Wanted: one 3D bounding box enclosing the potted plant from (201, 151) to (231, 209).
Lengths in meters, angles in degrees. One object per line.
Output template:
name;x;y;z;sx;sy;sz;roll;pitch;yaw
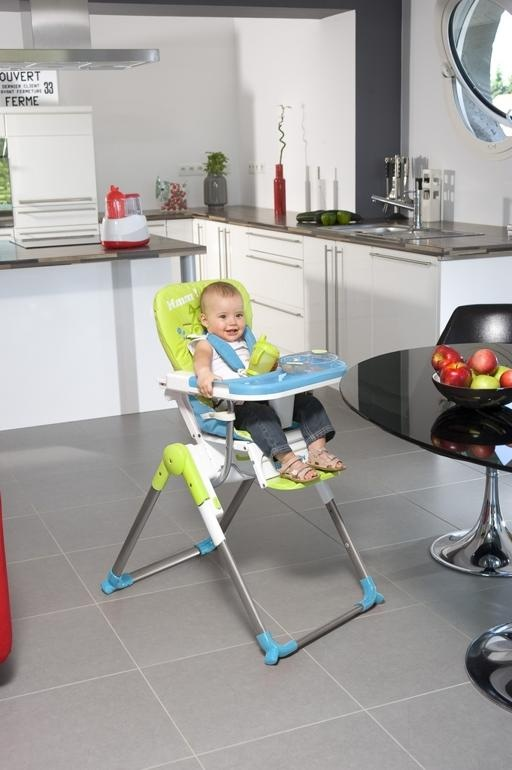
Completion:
potted plant;-0.391;-1.953;6.101;0.218;0.523;0.326;-3;8;-5

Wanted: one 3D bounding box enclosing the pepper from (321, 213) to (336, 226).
pepper;0.475;-1.105;4.236;0.086;0.085;0.086;-14;23;-38

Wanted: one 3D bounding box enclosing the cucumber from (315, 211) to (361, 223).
cucumber;0.551;-1.104;4.230;0.144;0.046;0.142;-6;9;-42

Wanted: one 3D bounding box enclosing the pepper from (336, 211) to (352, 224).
pepper;0.577;-1.101;4.210;0.082;0.081;0.083;2;21;-2

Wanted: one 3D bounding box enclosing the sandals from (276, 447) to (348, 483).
sandals;0.132;0.194;1.585;0.147;0.071;0.118;-6;9;-27

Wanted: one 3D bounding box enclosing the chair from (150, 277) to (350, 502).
chair;-0.019;-0.030;1.728;0.371;0.461;0.567;-17;19;-37

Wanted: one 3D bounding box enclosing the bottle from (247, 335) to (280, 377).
bottle;0.016;-0.075;1.600;0.078;0.093;0.093;15;13;23
